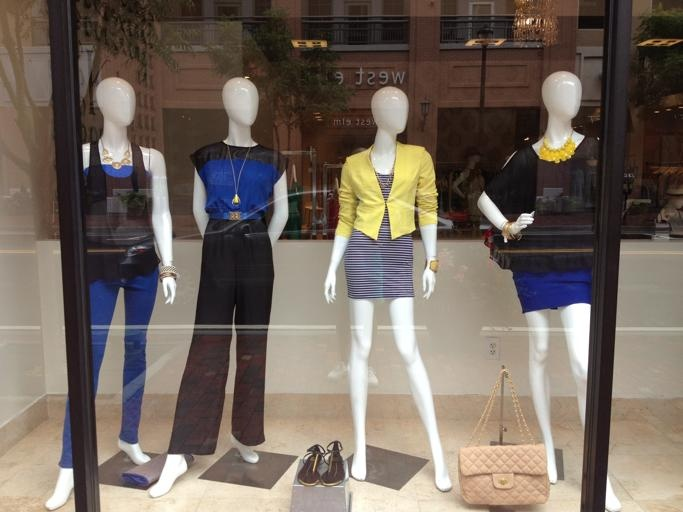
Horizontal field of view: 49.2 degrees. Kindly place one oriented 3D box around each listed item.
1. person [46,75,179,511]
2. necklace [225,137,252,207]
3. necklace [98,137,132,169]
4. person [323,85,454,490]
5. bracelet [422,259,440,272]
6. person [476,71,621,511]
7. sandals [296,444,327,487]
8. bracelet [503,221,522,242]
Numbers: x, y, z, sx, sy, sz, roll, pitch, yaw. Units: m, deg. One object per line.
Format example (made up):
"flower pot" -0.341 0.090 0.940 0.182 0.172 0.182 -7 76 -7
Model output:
"person" -0.922 0.066 3.295 0.322 1.673 0.350 -2 11 0
"necklace" -0.468 -0.365 3.391 0.114 0.280 0.054 -4 11 -8
"necklace" -0.998 -0.442 3.270 0.103 0.048 0.114 3 46 -25
"person" 0.184 0.126 3.294 0.510 1.703 0.355 -2 11 0
"bracelet" 0.410 0.040 3.429 0.053 0.055 0.056 3 10 -31
"person" 0.874 0.060 3.219 0.301 1.652 0.530 -8 12 -28
"sandals" -0.143 0.930 3.296 0.062 0.069 0.183 3 14 5
"bracelet" 0.748 -0.109 3.279 0.059 0.083 0.079 0 -4 -4
